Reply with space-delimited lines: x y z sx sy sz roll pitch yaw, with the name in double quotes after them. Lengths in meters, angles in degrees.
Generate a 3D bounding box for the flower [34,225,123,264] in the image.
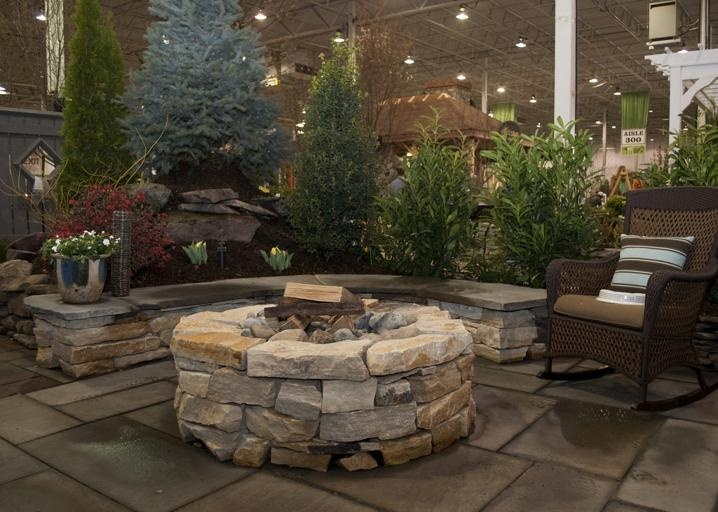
-2.293 -0.165 4.292 0.401 0.190 0.403 0 6 15 "flower"

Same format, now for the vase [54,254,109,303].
-2.314 0.168 4.265 0.398 0.346 0.403 0 0 20 "vase"
